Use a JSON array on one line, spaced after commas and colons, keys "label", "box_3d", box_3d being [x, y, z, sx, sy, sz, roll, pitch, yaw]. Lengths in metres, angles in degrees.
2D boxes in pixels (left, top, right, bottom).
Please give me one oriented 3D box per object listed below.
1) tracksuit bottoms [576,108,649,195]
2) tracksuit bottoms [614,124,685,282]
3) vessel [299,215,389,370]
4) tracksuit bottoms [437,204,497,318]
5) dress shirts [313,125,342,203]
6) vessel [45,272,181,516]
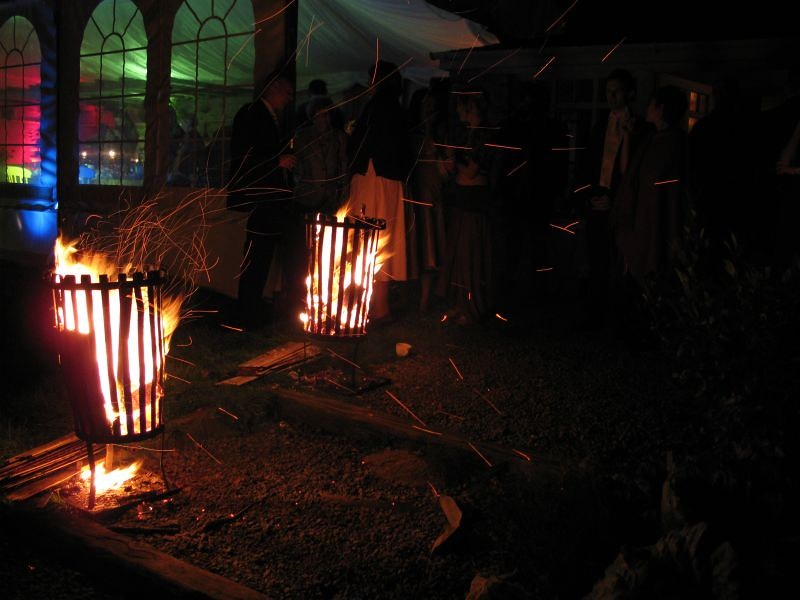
[{"label": "tracksuit bottoms", "box_3d": [2.136, -1.473, 7.211, 0.634, 0.911, 0.480, 13, 51, 20]}, {"label": "tracksuit bottoms", "box_3d": [2.404, -0.771, 7.027, 0.482, 1.790, 0.788, 3, 3, -39]}, {"label": "vessel", "box_3d": [-0.453, -0.144, 5.523, 0.588, 1.014, 0.277, 4, 7, -2]}, {"label": "tracksuit bottoms", "box_3d": [0.746, -0.388, 7.521, 0.596, 1.148, 0.331, 4, 7, -4]}, {"label": "dress shirts", "box_3d": [-0.759, -1.366, 7.468, 0.354, 0.685, 0.244, 1, 8, -17]}, {"label": "vessel", "box_3d": [-1.690, 0.485, 4.128, 0.606, 1.342, 0.277, 1, 8, -26]}]
